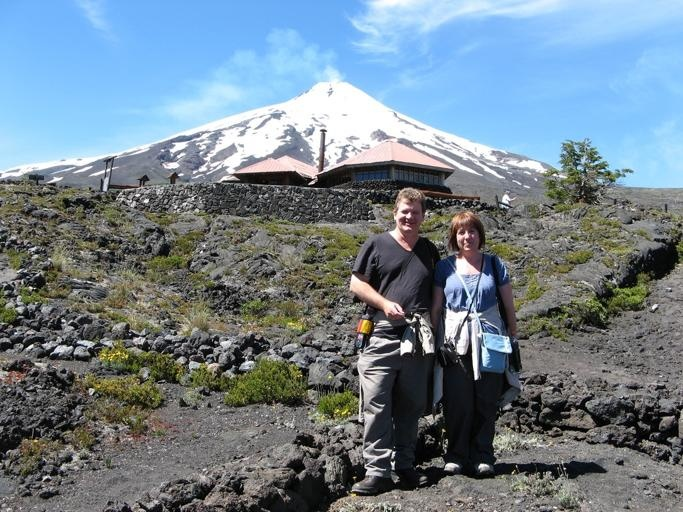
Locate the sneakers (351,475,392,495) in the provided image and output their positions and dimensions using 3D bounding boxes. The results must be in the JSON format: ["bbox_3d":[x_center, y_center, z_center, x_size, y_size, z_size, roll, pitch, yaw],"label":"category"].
[{"bbox_3d":[0.330,2.607,5.413,0.540,0.223,0.191,1,3,-7],"label":"sneakers"}]

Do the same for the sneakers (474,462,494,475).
[{"bbox_3d":[1.663,2.502,5.496,0.220,0.150,0.085,-5,4,-7],"label":"sneakers"}]

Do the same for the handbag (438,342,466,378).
[{"bbox_3d":[1.299,1.234,5.620,0.402,0.282,0.153,33,34,2],"label":"handbag"}]

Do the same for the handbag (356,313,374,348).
[{"bbox_3d":[0.283,0.907,5.637,0.230,0.387,0.133,8,-22,40],"label":"handbag"}]

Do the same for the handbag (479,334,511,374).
[{"bbox_3d":[1.775,1.149,5.534,0.488,0.524,0.309,4,-9,-13],"label":"handbag"}]
